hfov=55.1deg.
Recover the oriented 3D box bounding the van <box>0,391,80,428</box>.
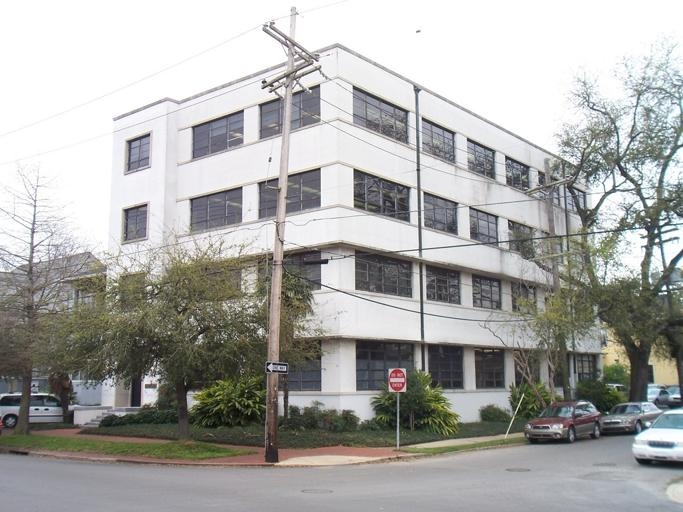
[{"bbox_3d":[-18.767,9.343,39.589,3.525,2.058,1.341,8,-18,-29],"label":"van"}]

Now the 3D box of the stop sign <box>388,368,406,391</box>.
[{"bbox_3d":[2.377,5.338,28.069,0.723,1.001,0.468,1,-15,-7],"label":"stop sign"}]

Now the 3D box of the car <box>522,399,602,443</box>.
[{"bbox_3d":[10.626,7.934,31.380,3.700,1.951,1.702,10,-19,-34],"label":"car"}]

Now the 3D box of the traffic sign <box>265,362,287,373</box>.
[{"bbox_3d":[-2.421,4.235,24.745,1.029,0.374,0.458,12,-20,-39],"label":"traffic sign"}]
